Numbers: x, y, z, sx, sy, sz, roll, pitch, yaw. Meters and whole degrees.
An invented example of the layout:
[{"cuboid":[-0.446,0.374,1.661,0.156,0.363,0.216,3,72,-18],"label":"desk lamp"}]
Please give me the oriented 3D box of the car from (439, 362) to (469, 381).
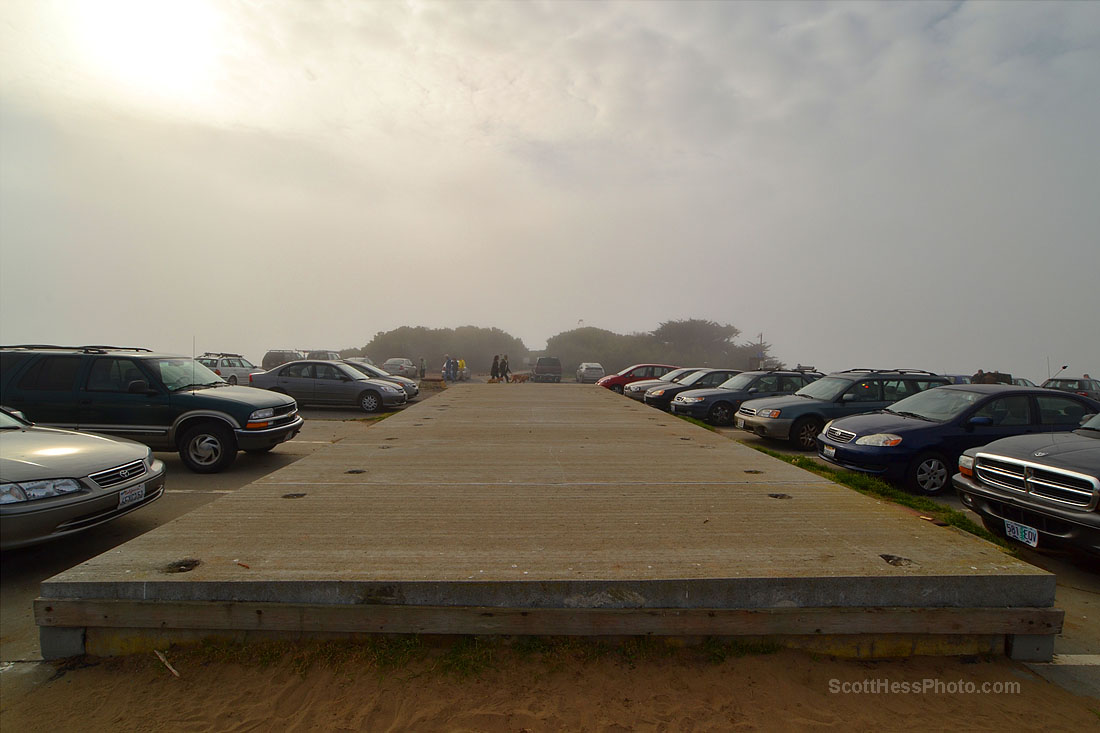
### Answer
[{"cuboid":[-5.553,0.341,44.125,0.985,1.116,3.081,-3,0,-2],"label":"car"}]
